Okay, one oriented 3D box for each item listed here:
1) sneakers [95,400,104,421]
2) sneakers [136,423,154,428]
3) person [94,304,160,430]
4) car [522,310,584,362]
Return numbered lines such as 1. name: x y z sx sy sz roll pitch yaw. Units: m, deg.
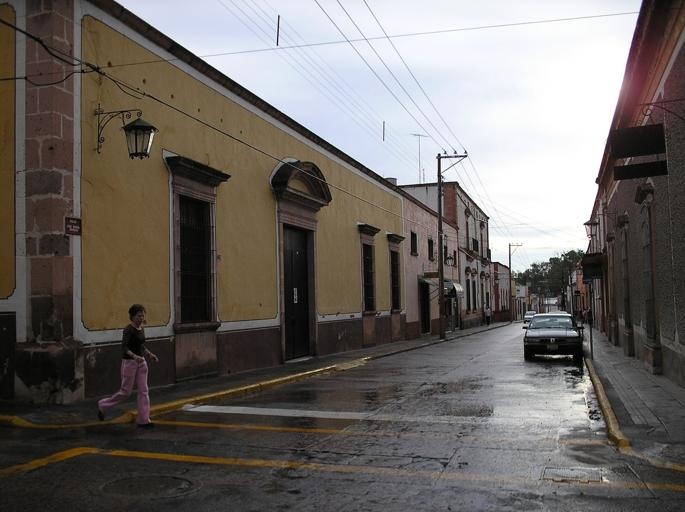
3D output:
1. sneakers: -4.378 2.789 11.644 0.143 0.407 0.129 -1 4 3
2. sneakers: -3.406 2.934 11.195 0.240 0.126 0.114 0 -3 5
3. person: -3.754 1.932 11.377 0.837 2.114 0.550 -6 -6 25
4. car: 7.314 2.760 22.573 1.164 1.064 2.774 -3 -13 14
